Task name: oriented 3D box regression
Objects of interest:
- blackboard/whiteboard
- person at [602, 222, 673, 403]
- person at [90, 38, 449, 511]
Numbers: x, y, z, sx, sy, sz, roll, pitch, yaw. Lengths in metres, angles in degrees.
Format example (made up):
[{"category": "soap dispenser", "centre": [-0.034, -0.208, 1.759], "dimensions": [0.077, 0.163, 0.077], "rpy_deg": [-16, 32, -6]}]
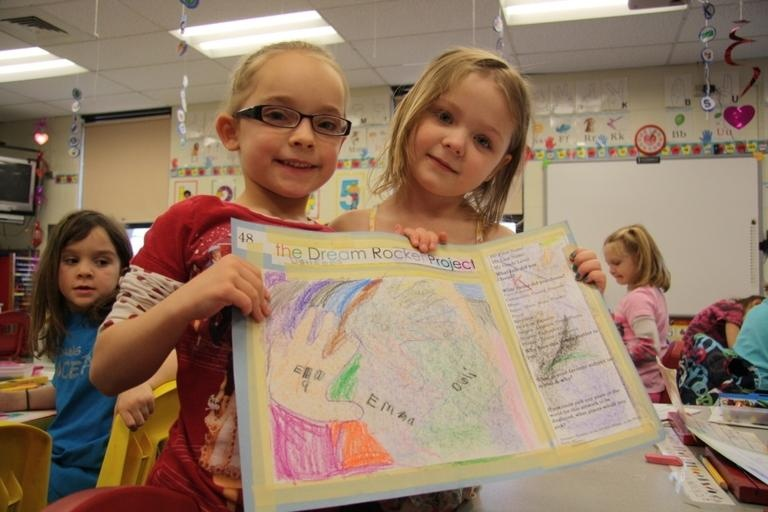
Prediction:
[{"category": "blackboard/whiteboard", "centre": [1.901, -0.139, 3.812], "dimensions": [1.200, 0.924, 0.049], "rpy_deg": [-1, -6, 10]}, {"category": "person", "centre": [1.485, 0.292, 3.409], "dimensions": [0.389, 0.836, 0.885], "rpy_deg": [3, 14, 24]}, {"category": "person", "centre": [-0.392, 0.014, 1.513], "dimensions": [0.408, 1.127, 0.642], "rpy_deg": [5, 15, 30]}]
